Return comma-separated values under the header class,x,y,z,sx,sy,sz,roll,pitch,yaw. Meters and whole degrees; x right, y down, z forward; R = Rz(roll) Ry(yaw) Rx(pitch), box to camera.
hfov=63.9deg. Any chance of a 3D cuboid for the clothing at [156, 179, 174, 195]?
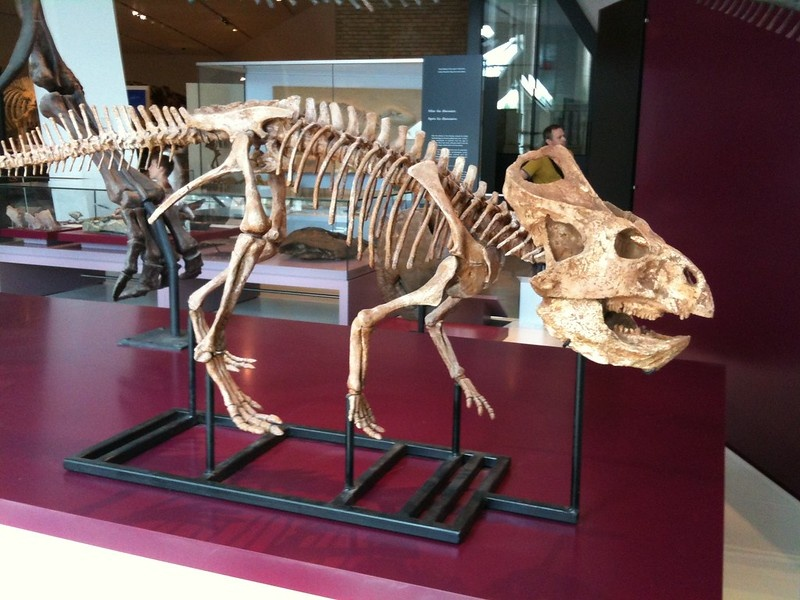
class,x,y,z,sx,sy,sz,roll,pitch,yaw
clothing,-1.585,-0.763,4.343,0.119,0.114,0.095,-5,39,-42
